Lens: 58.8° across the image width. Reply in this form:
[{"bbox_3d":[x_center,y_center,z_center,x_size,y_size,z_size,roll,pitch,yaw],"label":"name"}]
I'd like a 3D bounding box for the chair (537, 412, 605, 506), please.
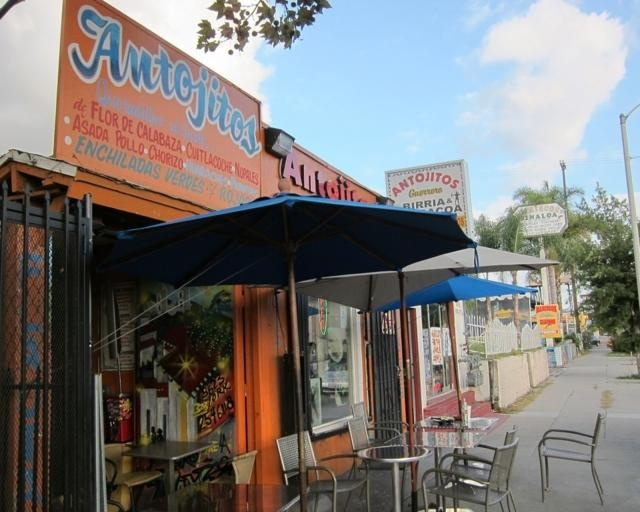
[{"bbox_3d":[3.450,2.754,7.763,0.776,1.164,0.617,-2,-8,29],"label":"chair"}]

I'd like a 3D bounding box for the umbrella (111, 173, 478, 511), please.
[{"bbox_3d":[-0.238,0.850,5.128,3.080,2.538,2.043,-6,-9,12],"label":"umbrella"}]
